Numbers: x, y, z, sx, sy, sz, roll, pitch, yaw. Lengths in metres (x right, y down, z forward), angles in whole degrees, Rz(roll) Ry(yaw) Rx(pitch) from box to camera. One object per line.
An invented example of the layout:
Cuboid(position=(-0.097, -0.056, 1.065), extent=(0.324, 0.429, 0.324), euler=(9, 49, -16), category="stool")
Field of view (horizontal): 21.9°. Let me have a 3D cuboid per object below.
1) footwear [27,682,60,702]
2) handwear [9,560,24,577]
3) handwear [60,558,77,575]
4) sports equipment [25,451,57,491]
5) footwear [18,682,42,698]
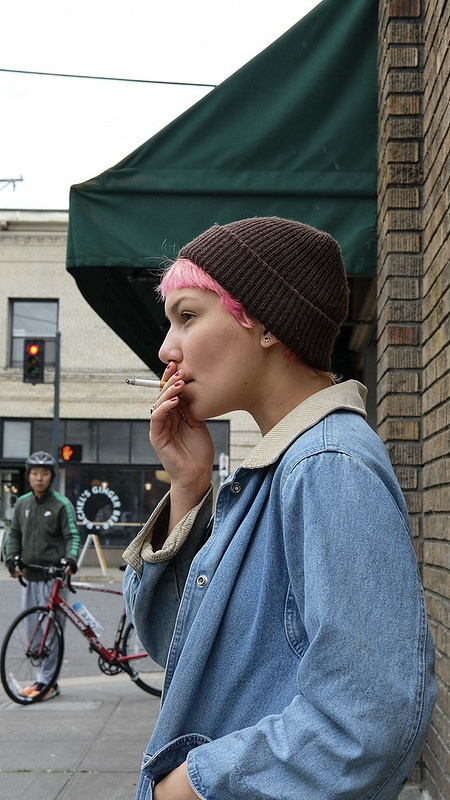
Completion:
Cuboid(position=(-1.113, 1.793, 7.133), extent=(0.065, 0.099, 0.208), euler=(-10, -17, 32), category="footwear")
Cuboid(position=(-1.294, 1.043, 7.241), extent=(0.073, 0.097, 0.106), euler=(-4, 1, -4), category="handwear")
Cuboid(position=(-0.978, 1.026, 7.319), extent=(0.074, 0.108, 0.040), euler=(13, 43, 24), category="handwear")
Cuboid(position=(-1.188, 0.456, 7.586), extent=(0.167, 0.226, 0.229), euler=(0, -23, -3), category="sports equipment")
Cuboid(position=(-1.169, 1.738, 6.990), extent=(0.050, 0.067, 0.150), euler=(-15, -25, 39), category="footwear")
